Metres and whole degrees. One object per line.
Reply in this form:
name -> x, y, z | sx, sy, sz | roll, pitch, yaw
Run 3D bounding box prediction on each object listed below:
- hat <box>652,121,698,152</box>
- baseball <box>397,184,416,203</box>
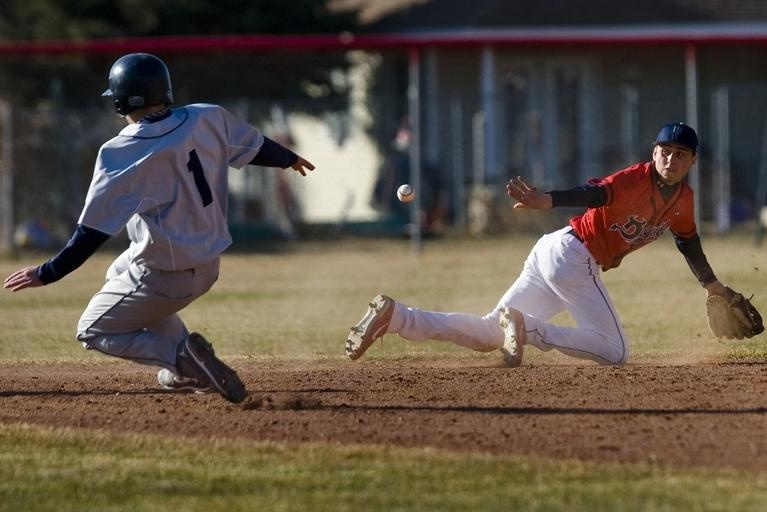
hat -> 3.262, -1.324, 16.232 | 0.447, 0.334, 0.341 | 1, 9, 15
baseball -> 0.293, -0.784, 17.282 | 0.312, 0.270, 0.158 | 0, -13, -5
